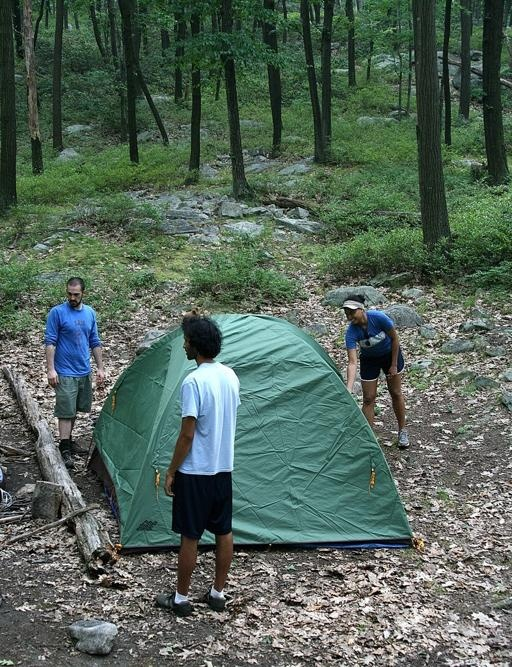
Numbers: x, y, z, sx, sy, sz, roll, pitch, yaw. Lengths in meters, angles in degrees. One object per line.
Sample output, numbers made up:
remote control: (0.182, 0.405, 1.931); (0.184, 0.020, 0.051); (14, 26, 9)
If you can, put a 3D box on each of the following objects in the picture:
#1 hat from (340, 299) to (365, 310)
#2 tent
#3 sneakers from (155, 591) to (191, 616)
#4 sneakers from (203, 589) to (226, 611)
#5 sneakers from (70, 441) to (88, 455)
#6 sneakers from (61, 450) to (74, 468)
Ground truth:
hat: (0.957, -0.279, 7.280); (0.194, 0.103, 0.192); (-3, 12, 8)
tent: (0.223, 1.029, 6.431); (2.069, 1.146, 2.258); (-3, 10, -14)
sneakers: (-0.595, 1.919, 5.380); (0.284, 0.129, 0.119); (15, 16, 33)
sneakers: (-0.310, 1.919, 5.423); (0.084, 0.096, 0.223); (-2, 12, -22)
sneakers: (-1.908, 1.220, 7.953); (0.262, 0.169, 0.096); (3, 7, -7)
sneakers: (-1.902, 1.268, 7.508); (0.080, 0.092, 0.228); (-6, 12, -27)
